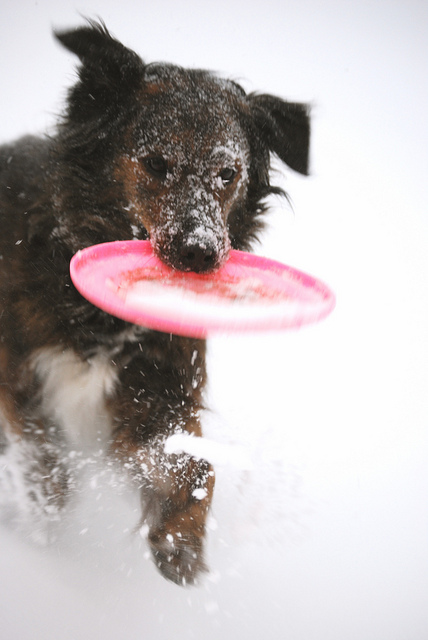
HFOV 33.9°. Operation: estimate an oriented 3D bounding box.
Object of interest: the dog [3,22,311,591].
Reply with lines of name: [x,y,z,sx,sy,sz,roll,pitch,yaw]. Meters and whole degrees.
dog: [-0.269,-0.094,1.949,0.835,1.091,0.945,13,41,3]
